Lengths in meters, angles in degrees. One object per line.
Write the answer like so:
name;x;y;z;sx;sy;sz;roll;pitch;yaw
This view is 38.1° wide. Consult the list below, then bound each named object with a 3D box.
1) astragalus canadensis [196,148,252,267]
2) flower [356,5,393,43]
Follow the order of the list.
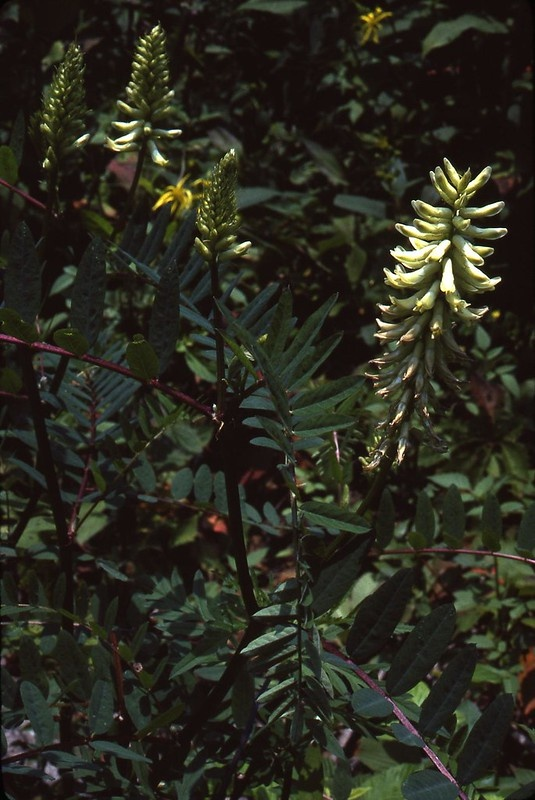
astragalus canadensis;-0.047;-0.237;0.961;0.076;0.138;0.112;16;19;-9
flower;0.172;-0.590;1.225;0.050;0.046;0.016;-18;12;3
